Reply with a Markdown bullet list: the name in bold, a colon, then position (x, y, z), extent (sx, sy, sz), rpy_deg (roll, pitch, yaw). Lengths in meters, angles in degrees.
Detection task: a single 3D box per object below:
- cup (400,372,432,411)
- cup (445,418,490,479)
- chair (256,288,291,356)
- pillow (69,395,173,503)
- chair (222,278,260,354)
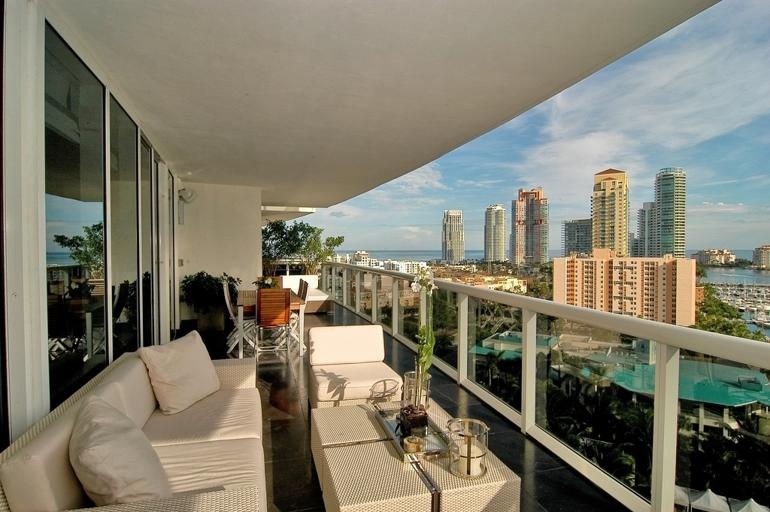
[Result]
- **cup**: position (0.203, 1.000, 3.546), extent (0.260, 0.400, 0.249), rpy_deg (2, -6, 0)
- **cup**: position (0.508, 1.226, 3.100), extent (0.346, 0.327, 0.309), rpy_deg (1, -4, -3)
- **chair**: position (-1.669, 0.916, 7.127), extent (0.486, 0.971, 1.389), rpy_deg (1, 0, -13)
- **pillow**: position (-1.469, 0.894, 2.705), extent (0.460, 0.350, 0.912), rpy_deg (5, 1, -30)
- **chair**: position (-2.217, 0.954, 7.276), extent (0.397, 0.704, 1.020), rpy_deg (3, 1, -14)
